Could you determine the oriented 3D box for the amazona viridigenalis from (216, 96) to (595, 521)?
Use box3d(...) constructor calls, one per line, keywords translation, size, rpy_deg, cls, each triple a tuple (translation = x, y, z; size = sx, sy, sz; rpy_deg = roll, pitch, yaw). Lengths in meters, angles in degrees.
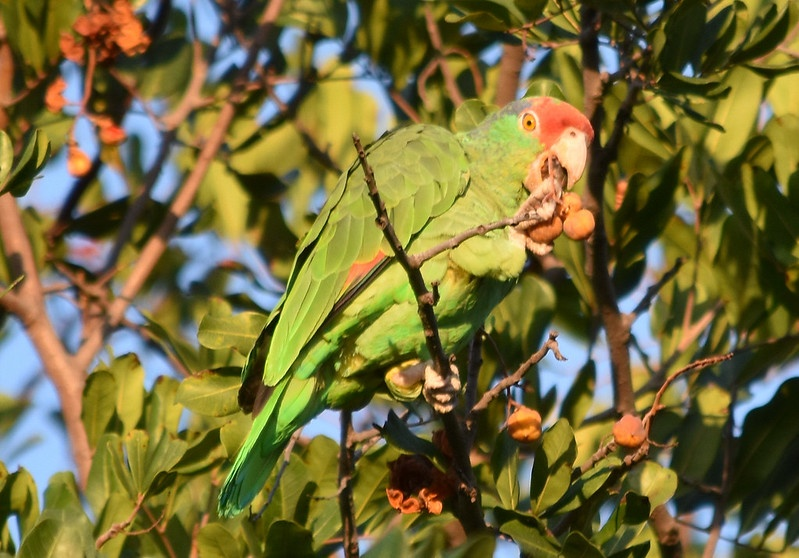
box3d(translation=(-0.108, 0.104, 6.275), size=(1.678, 1.443, 0.752), rpy_deg=(-13, -31, 20), cls="amazona viridigenalis")
